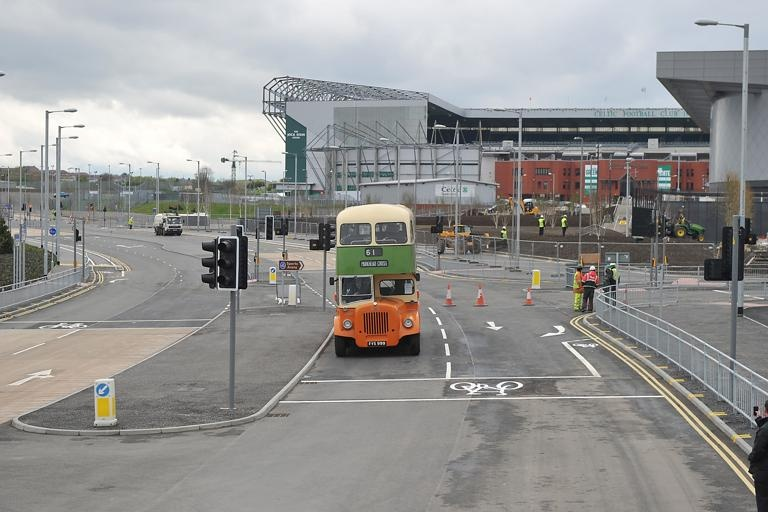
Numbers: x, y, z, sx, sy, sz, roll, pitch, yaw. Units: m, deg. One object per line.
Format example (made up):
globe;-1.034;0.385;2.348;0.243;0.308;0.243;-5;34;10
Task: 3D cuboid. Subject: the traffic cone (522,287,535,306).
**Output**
traffic cone;8.001;2.258;50.300;0.822;0.998;0.868;0;-3;-3

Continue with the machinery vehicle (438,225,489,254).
machinery vehicle;7.342;-1.387;86.631;3.419;1.718;3.486;0;-2;0

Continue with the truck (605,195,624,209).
truck;31.370;-7.324;127.693;1.718;1.870;33.651;0;3;13

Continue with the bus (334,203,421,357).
bus;-0.308;0.976;34.732;3.038;5.594;1.016;0;3;-2
